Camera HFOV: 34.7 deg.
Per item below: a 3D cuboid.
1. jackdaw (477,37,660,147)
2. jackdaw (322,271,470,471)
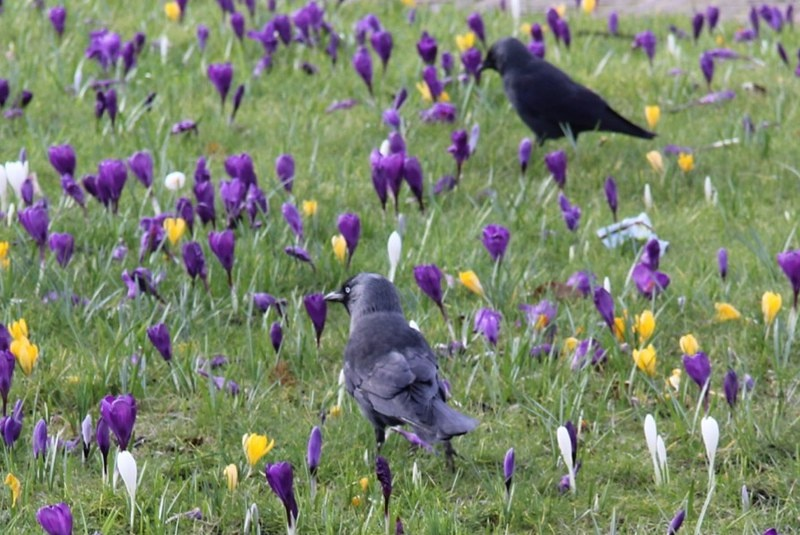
[{"bbox_3d":[1.163,-1.339,9.323,1.241,0.978,0.574,9,47,20],"label":"jackdaw"},{"bbox_3d":[-0.027,0.678,7.450,0.477,1.368,1.345,2,-7,-28],"label":"jackdaw"}]
